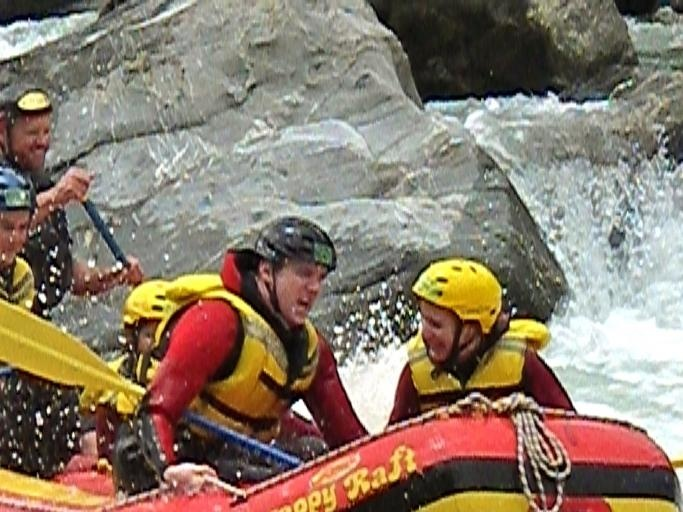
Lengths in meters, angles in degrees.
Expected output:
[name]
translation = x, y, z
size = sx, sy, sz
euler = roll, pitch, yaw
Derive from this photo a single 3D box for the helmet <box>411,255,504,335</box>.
[helmet]
translation = 0.611, 0.194, 9.053
size = 0.391, 0.384, 0.352
euler = -5, 6, 7
